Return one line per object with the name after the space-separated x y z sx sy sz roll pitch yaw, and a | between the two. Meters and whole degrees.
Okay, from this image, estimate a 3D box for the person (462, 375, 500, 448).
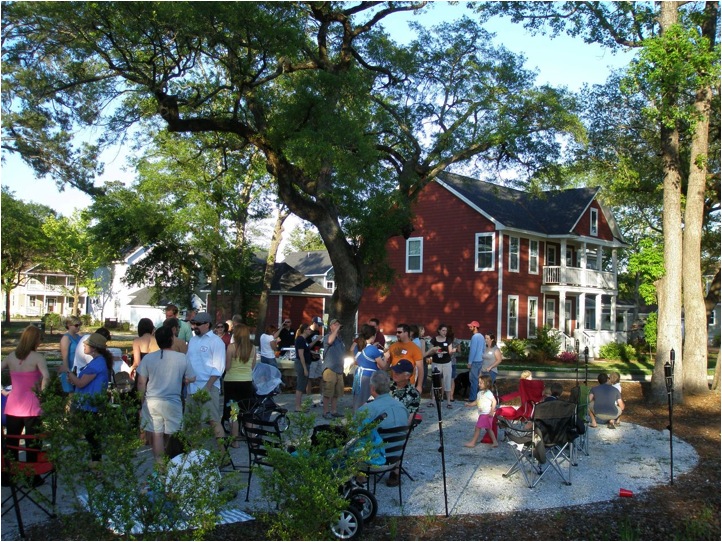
2.469 2.861 14.704 0.589 1.424 1.271 -2 -9 9 | person

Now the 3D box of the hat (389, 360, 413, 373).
0.768 1.742 13.029 0.327 0.214 0.262 2 -4 -5 | hat

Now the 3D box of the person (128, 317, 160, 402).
-4.130 1.777 13.638 0.541 1.984 0.568 21 23 38 | person

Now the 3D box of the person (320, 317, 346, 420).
-0.643 2.237 16.515 0.443 2.135 1.298 0 -9 -3 | person

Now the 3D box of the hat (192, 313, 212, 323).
-3.031 0.921 13.834 0.273 0.158 0.195 14 -6 -41 | hat

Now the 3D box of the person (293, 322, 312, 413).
-1.415 2.290 17.356 0.311 2.053 1.036 0 -8 -5 | person

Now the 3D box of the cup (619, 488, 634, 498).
4.558 3.825 12.378 0.372 0.140 0.186 6 -12 -35 | cup

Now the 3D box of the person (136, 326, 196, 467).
-3.340 2.053 12.167 0.790 2.168 0.493 2 -9 -19 | person

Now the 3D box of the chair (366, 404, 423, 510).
0.603 3.158 12.569 1.016 1.754 1.118 -1 3 -37 | chair

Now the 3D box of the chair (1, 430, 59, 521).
-5.236 3.334 11.379 0.867 1.489 2.372 3 -10 -22 | chair
